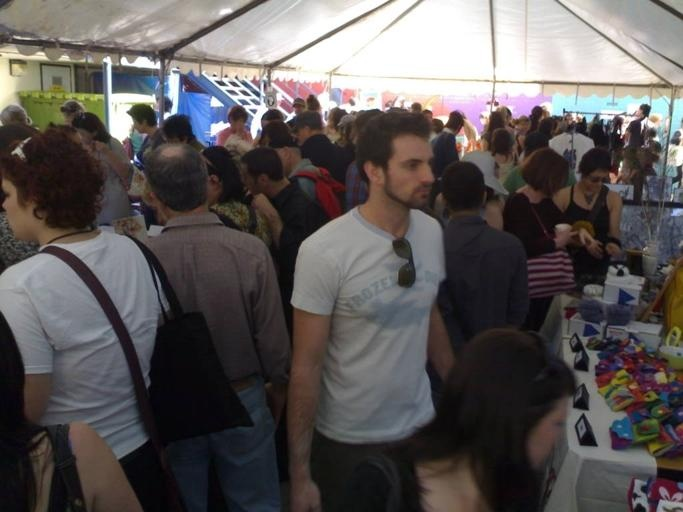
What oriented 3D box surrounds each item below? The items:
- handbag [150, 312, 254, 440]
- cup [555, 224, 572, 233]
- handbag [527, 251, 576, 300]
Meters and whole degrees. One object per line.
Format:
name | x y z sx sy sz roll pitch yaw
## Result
handbag | -0.609 0.500 2.200 0.422 0.519 0.157 -18 4 -10
cup | 1.576 -0.199 3.732 0.070 0.058 0.068 -2 9 0
handbag | 1.441 0.130 3.634 0.260 0.291 0.110 -12 -9 -9
